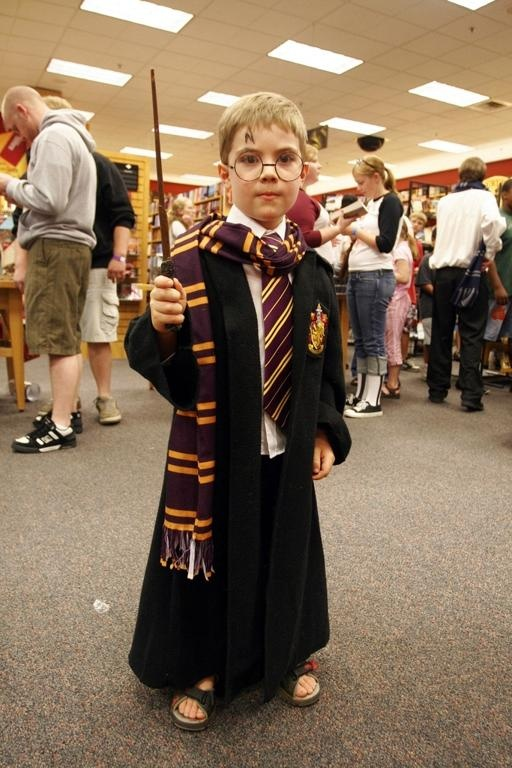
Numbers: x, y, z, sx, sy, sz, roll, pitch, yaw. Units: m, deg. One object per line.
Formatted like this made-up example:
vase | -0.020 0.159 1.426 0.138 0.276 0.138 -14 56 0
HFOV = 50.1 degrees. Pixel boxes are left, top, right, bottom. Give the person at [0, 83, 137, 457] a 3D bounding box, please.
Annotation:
person | -0.885 -0.518 2.554 0.341 1.581 0.694 4 9 10

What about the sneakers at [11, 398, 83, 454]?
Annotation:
sneakers | -0.938 0.221 2.547 0.127 0.180 0.376 3 3 40

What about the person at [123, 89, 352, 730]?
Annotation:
person | -0.022 0.058 0.924 0.382 0.987 0.308 -3 9 -25

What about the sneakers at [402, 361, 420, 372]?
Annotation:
sneakers | 1.632 -0.188 5.821 0.100 0.117 0.249 0 5 -37
